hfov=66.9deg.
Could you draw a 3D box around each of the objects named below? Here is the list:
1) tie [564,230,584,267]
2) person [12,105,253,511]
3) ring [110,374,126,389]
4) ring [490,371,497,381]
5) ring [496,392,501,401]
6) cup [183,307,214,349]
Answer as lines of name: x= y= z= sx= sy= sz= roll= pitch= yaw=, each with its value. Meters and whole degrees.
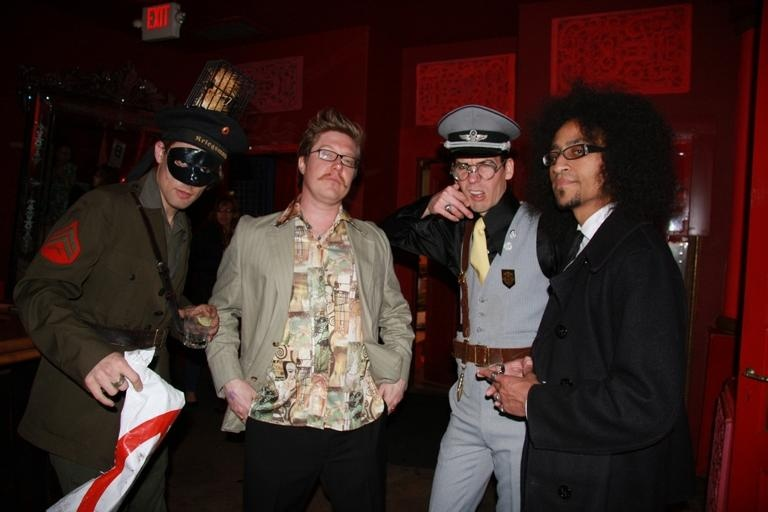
tie: x=1.105 y=-0.037 z=3.369 sx=0.042 sy=0.206 sz=0.054 roll=16 pitch=21 yaw=0
person: x=-1.566 y=0.316 z=3.452 sx=1.082 sy=2.642 sz=0.775 roll=6 pitch=-4 yaw=-33
ring: x=-1.405 y=0.669 z=3.070 sx=0.054 sy=0.034 sz=0.069 roll=-14 pitch=10 yaw=-41
ring: x=0.621 y=0.687 z=3.284 sx=0.050 sy=0.048 sz=0.033 roll=5 pitch=-5 yaw=-8
ring: x=0.640 y=0.797 z=3.259 sx=0.019 sy=0.050 sz=0.037 roll=0 pitch=-14 yaw=-9
cup: x=-1.096 y=0.426 z=3.427 sx=0.187 sy=0.217 sz=0.212 roll=0 pitch=-19 yaw=12
